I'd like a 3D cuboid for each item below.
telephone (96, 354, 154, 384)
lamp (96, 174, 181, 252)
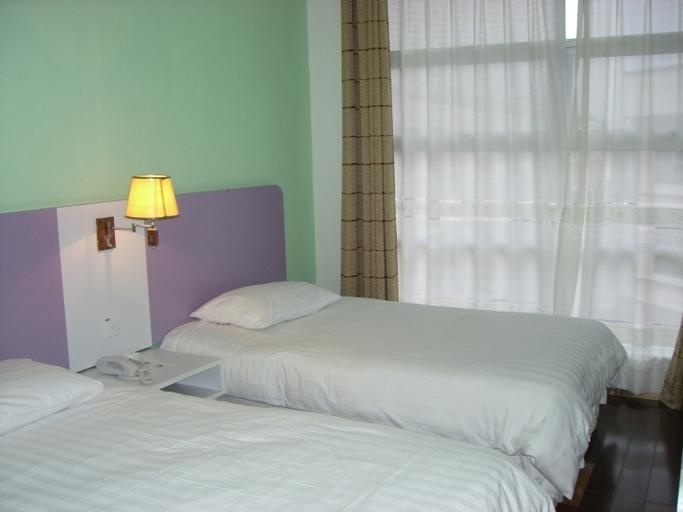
[{"bbox_3d":[-1.280,0.669,3.078,0.239,0.076,0.196,4,0,18],"label":"telephone"},{"bbox_3d":[-1.249,-0.244,3.158,0.465,0.424,0.284,0,8,4],"label":"lamp"}]
